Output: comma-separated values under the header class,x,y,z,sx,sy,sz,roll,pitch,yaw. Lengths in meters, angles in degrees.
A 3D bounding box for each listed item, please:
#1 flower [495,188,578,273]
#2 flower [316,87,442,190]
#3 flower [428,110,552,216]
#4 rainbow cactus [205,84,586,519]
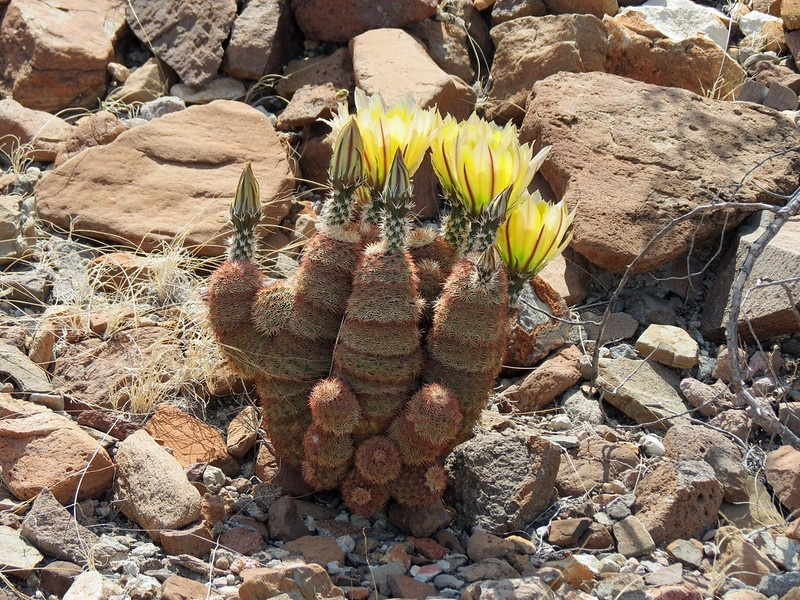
class,x,y,z,sx,sy,sz,roll,pitch,yaw
flower,0.608,-0.304,4.464,0.380,0.450,0.386,9,2,36
flower,-0.080,-0.704,4.543,0.501,0.573,0.459,-8,13,-44
flower,0.370,-0.672,4.456,0.480,0.528,0.504,18,8,-15
rainbow cactus,-0.067,0.085,4.387,1.577,1.391,1.436,-20,56,-20
